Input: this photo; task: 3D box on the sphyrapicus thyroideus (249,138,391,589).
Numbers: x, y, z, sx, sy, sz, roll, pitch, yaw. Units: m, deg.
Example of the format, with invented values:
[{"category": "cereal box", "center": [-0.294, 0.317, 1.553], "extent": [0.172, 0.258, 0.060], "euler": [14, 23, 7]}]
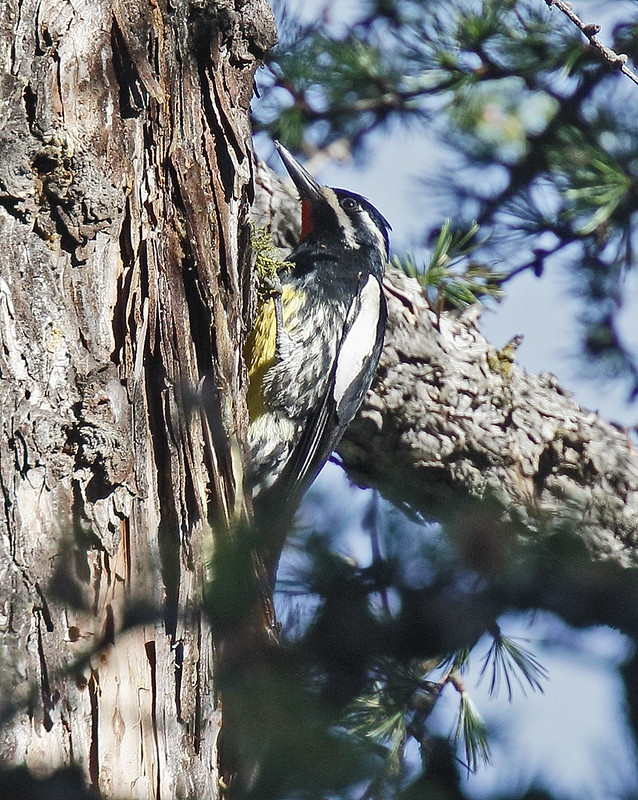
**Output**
[{"category": "sphyrapicus thyroideus", "center": [0.010, -0.230, 5.785], "extent": [0.391, 0.974, 0.988], "euler": [7, 11, 1]}]
